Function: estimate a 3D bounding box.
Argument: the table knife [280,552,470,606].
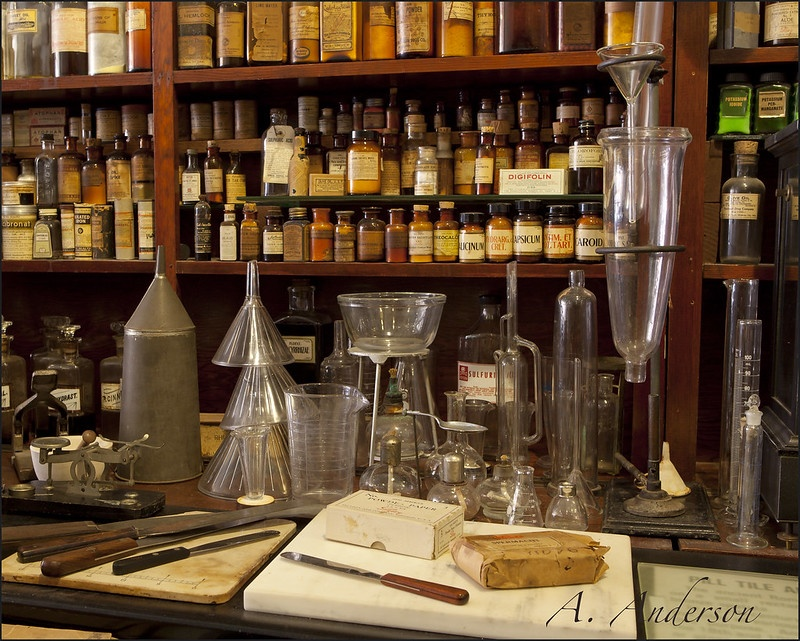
[{"bbox_3d":[-0.039,0.447,1.387,0.434,0.021,0.051,5,7,26],"label":"table knife"}]

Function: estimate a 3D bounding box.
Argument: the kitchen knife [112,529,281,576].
[{"bbox_3d":[-0.389,0.437,1.518,0.375,0.030,0.051,-2,9,-45],"label":"kitchen knife"}]

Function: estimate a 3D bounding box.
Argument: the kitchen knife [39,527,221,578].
[{"bbox_3d":[-0.494,0.432,1.553,0.371,0.027,0.071,-2,9,-45],"label":"kitchen knife"}]

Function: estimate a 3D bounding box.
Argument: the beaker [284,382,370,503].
[{"bbox_3d":[-0.157,0.273,1.788,0.160,0.230,0.083,-3,5,-19],"label":"beaker"}]
